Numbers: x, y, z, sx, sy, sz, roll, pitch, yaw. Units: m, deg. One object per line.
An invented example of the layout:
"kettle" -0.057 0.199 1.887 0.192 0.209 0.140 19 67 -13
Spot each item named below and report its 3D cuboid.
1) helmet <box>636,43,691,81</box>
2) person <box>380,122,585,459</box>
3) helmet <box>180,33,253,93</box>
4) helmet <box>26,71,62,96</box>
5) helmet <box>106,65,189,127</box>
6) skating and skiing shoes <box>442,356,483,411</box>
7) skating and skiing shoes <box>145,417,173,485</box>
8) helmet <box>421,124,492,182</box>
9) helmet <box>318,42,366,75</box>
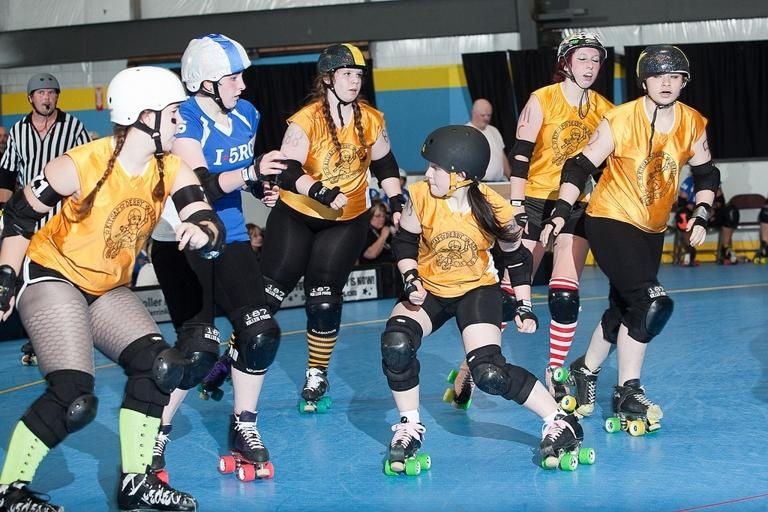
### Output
"helmet" 1.954 -1.328 4.525 0.256 0.246 0.290 -7 6 -32
"person" 0.542 0.253 4.168 1.124 2.151 0.639 -3 8 2
"helmet" -1.099 -1.239 4.324 0.411 0.360 0.339 -29 13 12
"helmet" -3.431 -1.724 6.577 0.254 0.258 0.323 -5 8 -41
"helmet" -1.312 -0.860 3.676 0.382 0.319 0.305 9 1 -12
"skating and skiing shoes" 0.617 1.019 5.185 0.162 0.241 0.508 -10 10 1
"skating and skiing shoes" -1.432 1.214 4.150 0.096 0.233 0.321 5 3 -10
"helmet" 0.483 -0.707 4.229 0.391 0.330 0.330 -6 21 -6
"helmet" -0.313 -1.451 4.851 0.265 0.185 0.249 11 16 35
